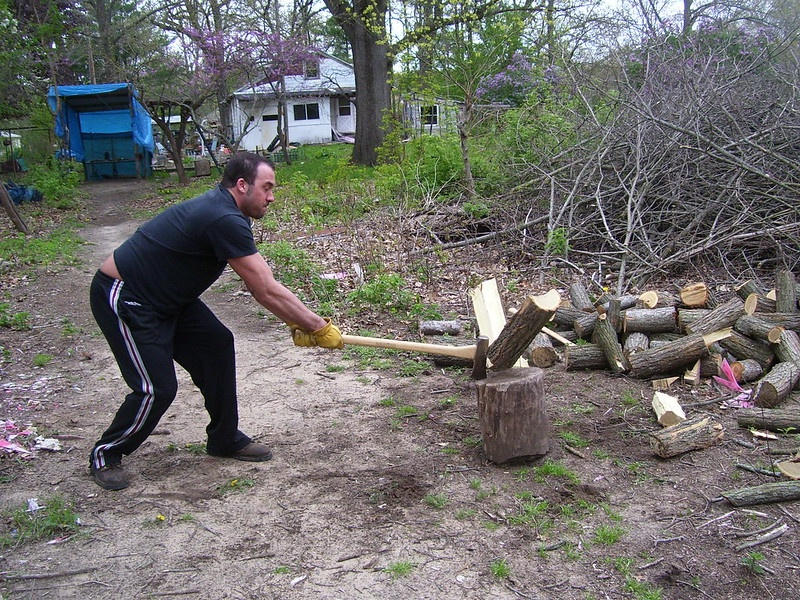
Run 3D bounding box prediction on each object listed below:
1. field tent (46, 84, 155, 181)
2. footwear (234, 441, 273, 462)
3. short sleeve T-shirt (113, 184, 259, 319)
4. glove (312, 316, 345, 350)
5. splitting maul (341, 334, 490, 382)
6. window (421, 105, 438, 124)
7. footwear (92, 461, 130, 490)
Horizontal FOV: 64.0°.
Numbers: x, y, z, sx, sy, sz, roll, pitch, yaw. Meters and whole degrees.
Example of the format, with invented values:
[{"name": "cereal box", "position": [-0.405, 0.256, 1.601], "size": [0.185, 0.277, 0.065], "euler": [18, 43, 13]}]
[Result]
[{"name": "field tent", "position": [-9.105, -5.613, 20.080], "size": [2.965, 2.320, 3.632], "euler": [-2, -5, -3]}, {"name": "footwear", "position": [-1.170, 1.218, 5.148], "size": [0.243, 0.092, 0.147], "euler": [0, 9, 6]}, {"name": "short sleeve T-shirt", "position": [-1.678, -0.488, 4.907], "size": [0.796, 1.056, 0.938], "euler": [14, 29, -30]}, {"name": "glove", "position": [-0.520, 0.268, 4.952], "size": [0.242, 0.238, 0.191], "euler": [-25, 5, 20]}, {"name": "splitting maul", "position": [0.191, 0.457, 5.042], "size": [1.033, 0.391, 0.217], "euler": [-3, 14, -2]}, {"name": "window", "position": [0.622, -4.014, 13.941], "size": [0.372, 0.377, 0.817], "euler": [-3, 13, 2]}, {"name": "footwear", "position": [-2.170, 1.313, 4.795], "size": [0.286, 0.109, 0.153], "euler": [8, 11, 33]}]
